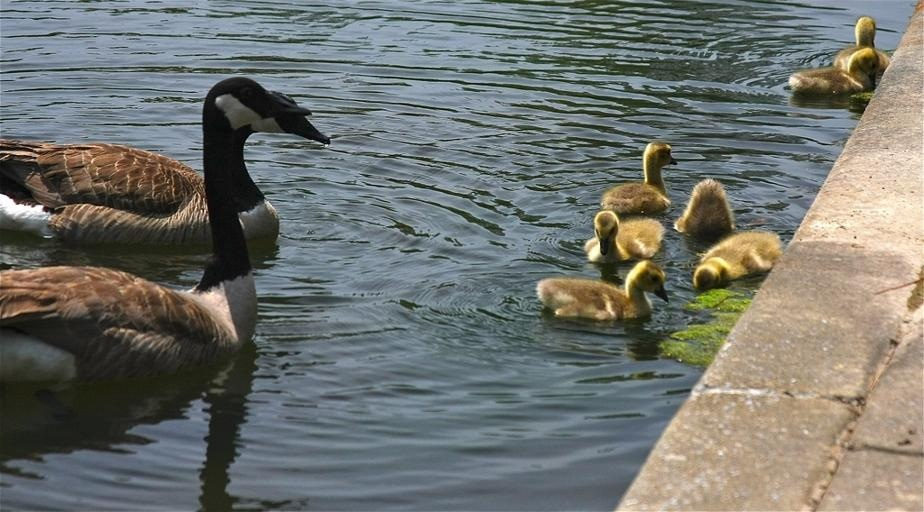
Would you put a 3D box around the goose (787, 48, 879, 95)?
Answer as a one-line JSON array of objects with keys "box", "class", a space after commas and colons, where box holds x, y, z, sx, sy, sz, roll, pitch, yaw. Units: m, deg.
[{"box": [6.697, -3.229, 18.689, 2.096, 0.820, 0.783, -8, 39, -11], "class": "goose"}]

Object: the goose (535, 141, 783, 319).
[{"box": [2.713, -0.195, 13.557, 2.412, 1.021, 3.502, 8, 27, 19], "class": "goose"}]
